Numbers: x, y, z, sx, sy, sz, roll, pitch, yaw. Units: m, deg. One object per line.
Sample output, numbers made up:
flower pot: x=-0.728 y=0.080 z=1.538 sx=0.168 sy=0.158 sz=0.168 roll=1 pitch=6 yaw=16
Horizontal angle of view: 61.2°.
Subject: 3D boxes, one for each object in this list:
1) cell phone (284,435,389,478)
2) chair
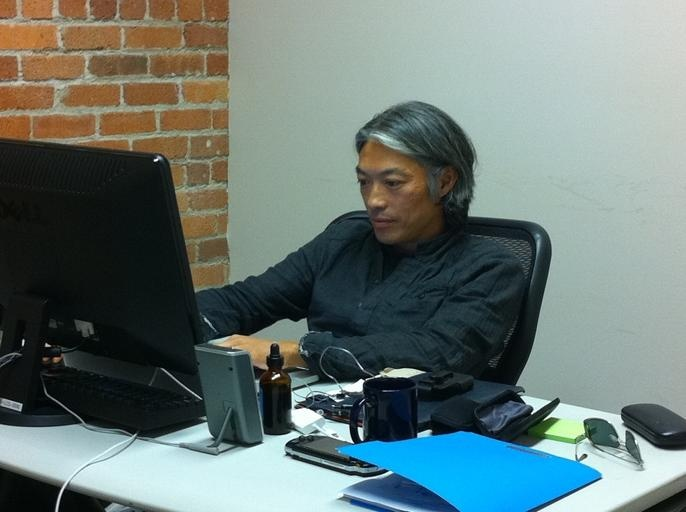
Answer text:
cell phone: x=-0.010 y=0.326 z=1.013 sx=0.150 sy=0.022 sz=0.070 roll=11 pitch=10 yaw=33
chair: x=0.491 y=0.125 z=1.763 sx=0.222 sy=0.474 sz=0.318 roll=5 pitch=6 yaw=0
